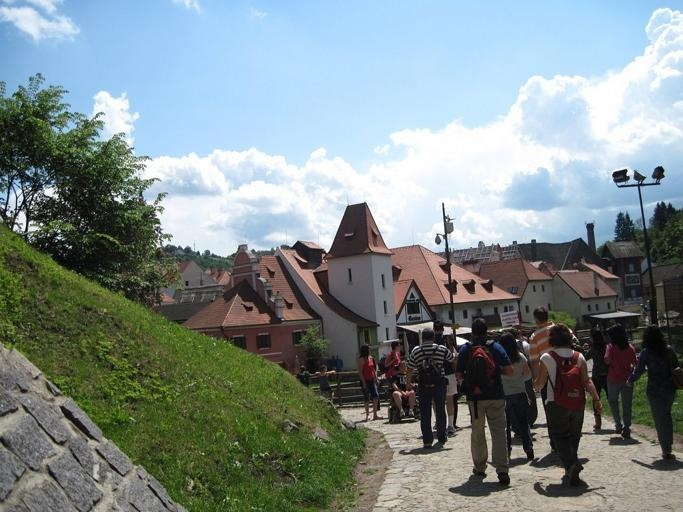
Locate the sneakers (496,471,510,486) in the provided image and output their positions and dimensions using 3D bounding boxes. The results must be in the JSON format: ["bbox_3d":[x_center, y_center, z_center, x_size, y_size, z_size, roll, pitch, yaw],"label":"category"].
[{"bbox_3d":[2.632,3.629,9.260,0.092,0.221,0.280,-1,-4,30],"label":"sneakers"}]

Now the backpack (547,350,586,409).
[{"bbox_3d":[3.761,2.034,9.301,0.498,0.945,0.476,-6,-4,13],"label":"backpack"}]

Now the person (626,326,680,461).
[{"bbox_3d":[5.692,2.421,10.304,0.753,2.274,0.892,-4,-5,28],"label":"person"}]

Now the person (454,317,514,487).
[{"bbox_3d":[2.542,2.530,10.057,0.926,2.837,0.888,-7,6,-30],"label":"person"}]

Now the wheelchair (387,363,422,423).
[{"bbox_3d":[1.828,4.005,16.851,0.921,1.724,1.152,-8,0,30],"label":"wheelchair"}]

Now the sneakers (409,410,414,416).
[{"bbox_3d":[2.055,4.647,16.769,0.131,0.246,0.138,2,5,12],"label":"sneakers"}]
